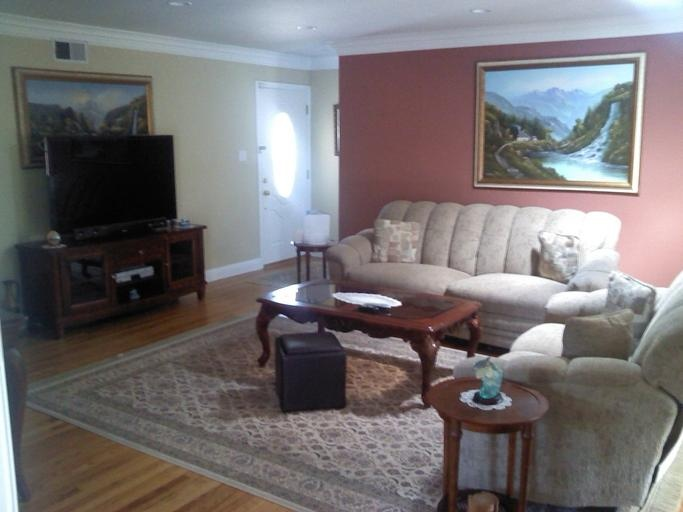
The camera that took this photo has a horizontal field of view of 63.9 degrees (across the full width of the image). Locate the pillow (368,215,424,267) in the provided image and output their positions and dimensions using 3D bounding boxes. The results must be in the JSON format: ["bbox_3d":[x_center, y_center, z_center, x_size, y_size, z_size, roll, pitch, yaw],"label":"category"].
[{"bbox_3d":[0.569,-0.139,5.624,0.519,0.460,0.190,6,-4,5],"label":"pillow"}]

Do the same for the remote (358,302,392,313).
[{"bbox_3d":[0.237,0.376,4.101,0.264,0.037,0.173,1,13,8],"label":"remote"}]

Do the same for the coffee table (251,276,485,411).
[{"bbox_3d":[0.372,0.423,4.248,1.397,0.503,0.931,5,9,34],"label":"coffee table"}]

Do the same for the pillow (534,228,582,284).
[{"bbox_3d":[1.918,0.005,4.819,0.437,0.511,0.228,12,3,36],"label":"pillow"}]

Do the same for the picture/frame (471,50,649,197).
[{"bbox_3d":[2.168,-1.305,5.301,1.590,1.203,0.102,5,14,27],"label":"picture/frame"}]

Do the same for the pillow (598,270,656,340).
[{"bbox_3d":[1.750,0.312,3.386,0.164,0.399,0.342,20,-5,-42],"label":"pillow"}]

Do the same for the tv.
[{"bbox_3d":[-2.308,-0.647,5.357,0.161,0.776,1.160,6,12,41],"label":"tv"}]
